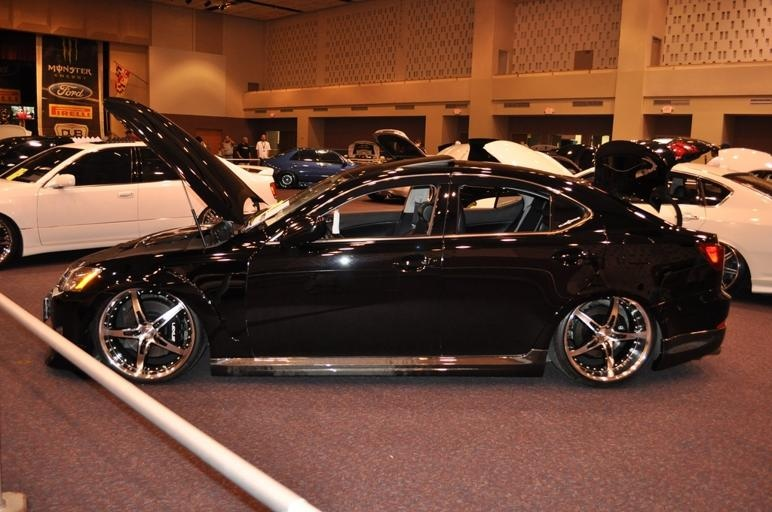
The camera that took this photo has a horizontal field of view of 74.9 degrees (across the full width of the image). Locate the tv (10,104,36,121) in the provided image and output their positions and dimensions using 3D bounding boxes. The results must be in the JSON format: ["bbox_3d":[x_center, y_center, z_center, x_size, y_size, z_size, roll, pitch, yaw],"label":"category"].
[{"bbox_3d":[-23.007,-8.932,31.678,2.048,0.892,0.194,-2,-12,-14],"label":"tv"}]

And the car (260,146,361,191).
[{"bbox_3d":[-1.856,-3.643,21.366,6.372,1.440,2.306,-3,11,-3],"label":"car"}]

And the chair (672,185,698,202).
[{"bbox_3d":[4.136,-0.831,6.931,0.249,0.233,0.110,9,0,23],"label":"chair"}]
